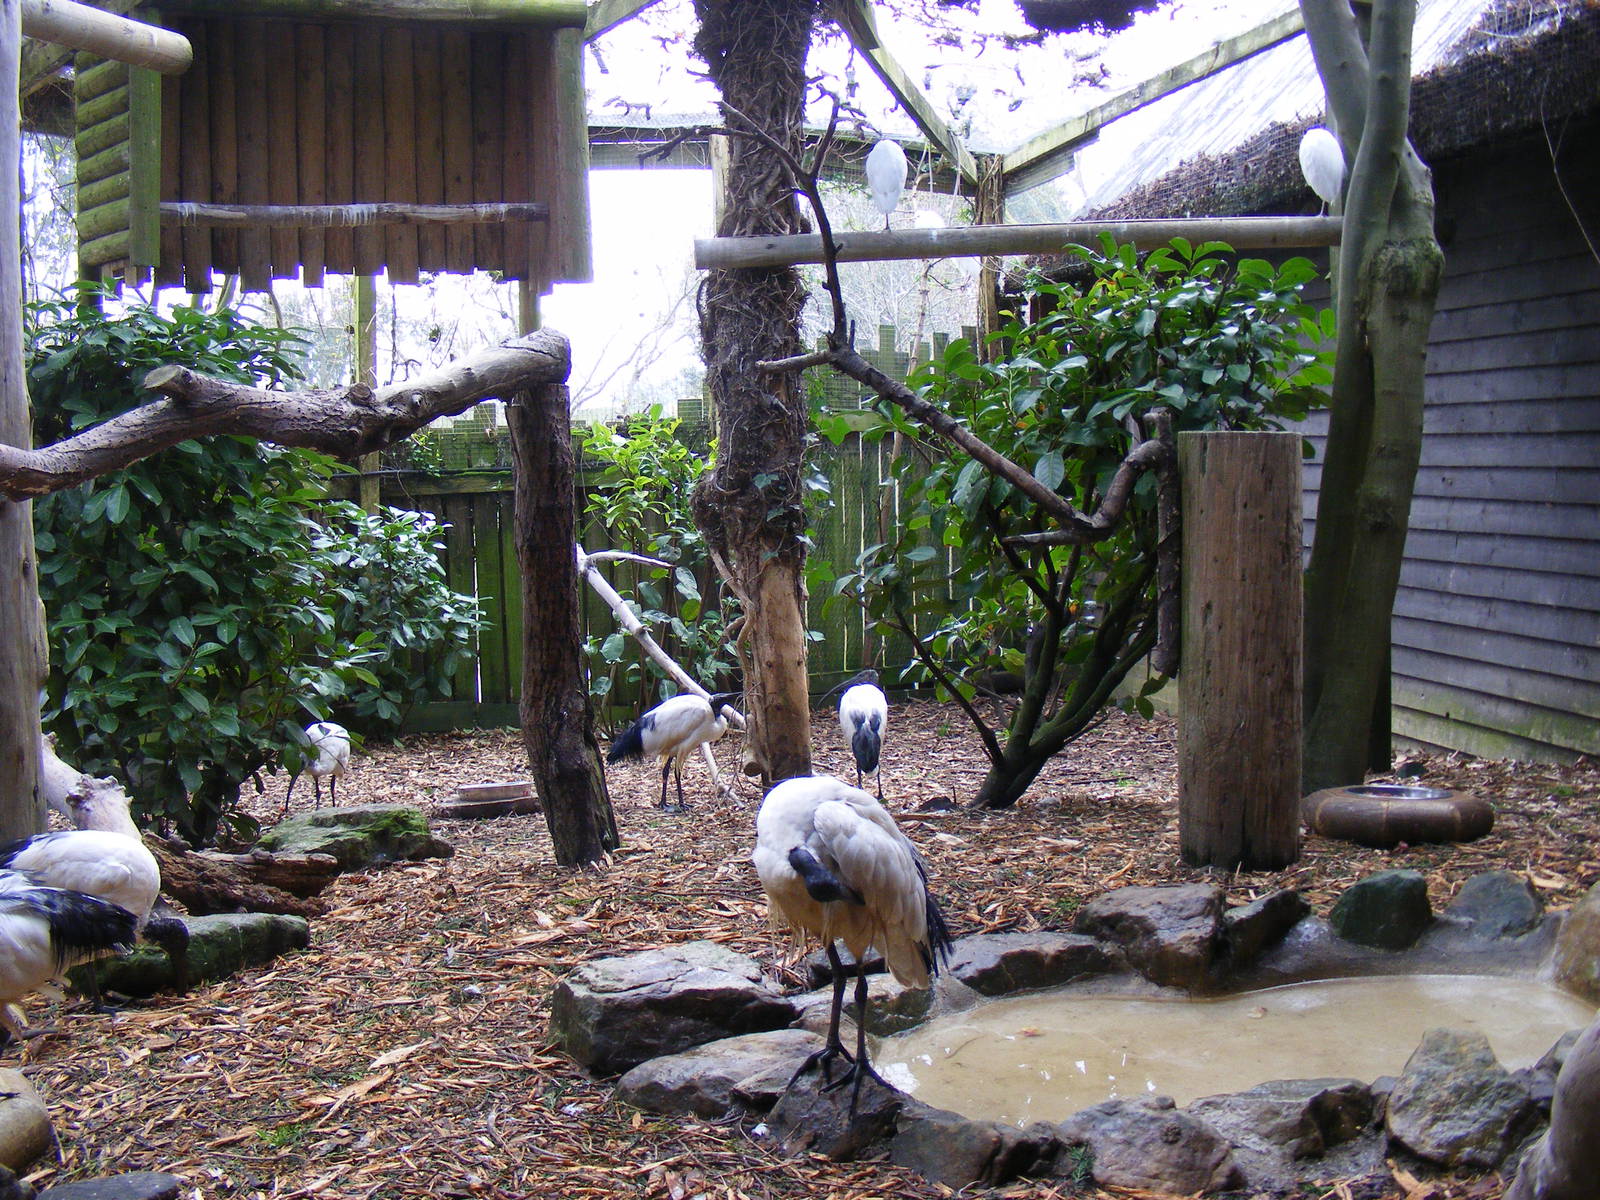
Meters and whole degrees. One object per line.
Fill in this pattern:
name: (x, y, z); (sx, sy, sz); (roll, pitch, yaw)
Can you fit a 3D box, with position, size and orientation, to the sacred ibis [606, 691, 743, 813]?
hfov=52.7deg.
sacred ibis: (-0.770, 0.944, 10.032); (0.857, 0.729, 0.499); (0, -1, -5)
